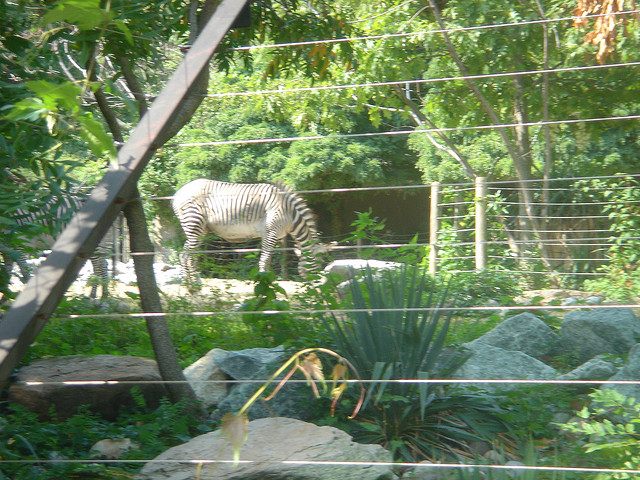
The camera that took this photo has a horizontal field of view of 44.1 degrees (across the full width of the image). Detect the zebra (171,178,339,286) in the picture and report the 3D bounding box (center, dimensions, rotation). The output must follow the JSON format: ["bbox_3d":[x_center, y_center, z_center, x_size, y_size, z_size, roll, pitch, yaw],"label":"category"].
[{"bbox_3d":[-1.026,-0.092,9.682,0.943,1.213,3.245,-2,-3,44],"label":"zebra"}]
